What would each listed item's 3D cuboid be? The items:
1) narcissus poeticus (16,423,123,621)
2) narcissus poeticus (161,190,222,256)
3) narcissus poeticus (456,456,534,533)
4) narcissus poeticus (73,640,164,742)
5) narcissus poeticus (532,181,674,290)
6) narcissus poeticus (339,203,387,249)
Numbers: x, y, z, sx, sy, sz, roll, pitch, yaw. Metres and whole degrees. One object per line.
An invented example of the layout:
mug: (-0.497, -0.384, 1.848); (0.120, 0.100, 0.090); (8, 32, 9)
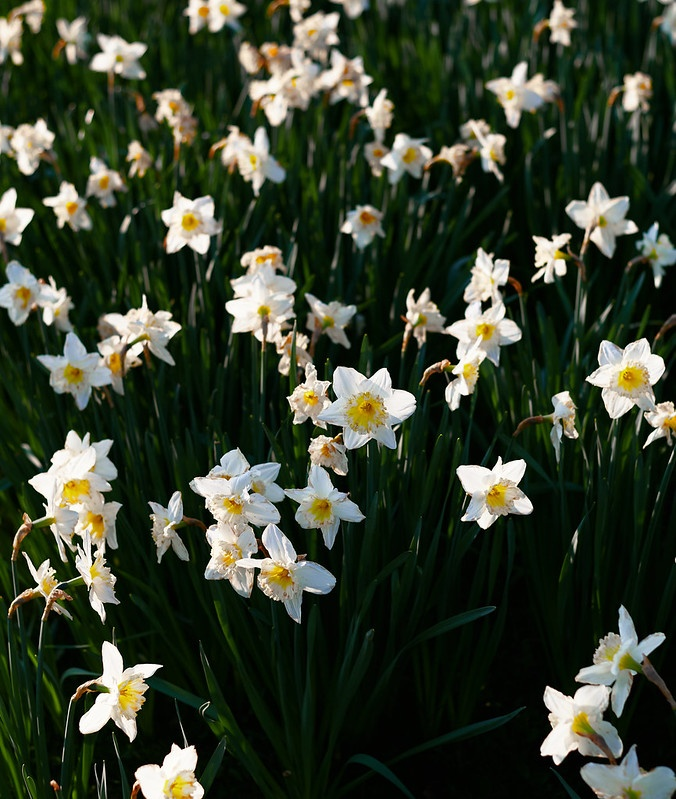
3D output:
narcissus poeticus: (-0.549, 0.269, 2.053); (0.126, 0.375, 0.200); (-9, -35, 13)
narcissus poeticus: (-0.334, -0.400, 2.323); (0.167, 0.122, 0.204); (7, 4, -25)
narcissus poeticus: (0.303, 0.160, 1.915); (0.142, 0.076, 0.195); (21, -6, -14)
narcissus poeticus: (-0.401, 0.537, 1.815); (0.152, 0.131, 0.203); (20, 10, -46)
narcissus poeticus: (0.728, -0.440, 2.712); (0.204, 0.241, 0.163); (14, 8, -29)
narcissus poeticus: (0.055, -0.465, 2.590); (0.079, 0.146, 0.065); (12, 17, 11)
